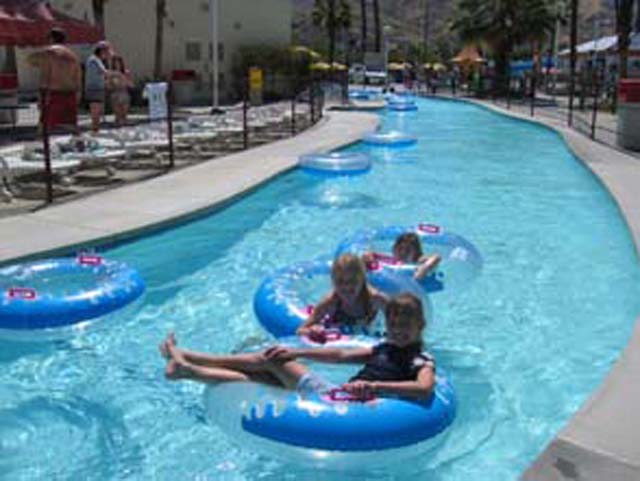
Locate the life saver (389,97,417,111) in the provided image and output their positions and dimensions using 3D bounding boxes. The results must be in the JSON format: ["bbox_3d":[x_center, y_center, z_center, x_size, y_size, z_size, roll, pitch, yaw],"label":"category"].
[{"bbox_3d":[3.329,-5.631,24.980,1.102,0.284,1.150,1,23,0],"label":"life saver"}]

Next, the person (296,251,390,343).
[{"bbox_3d":[0.220,0.457,4.794,0.890,0.773,0.563,-2,37,8],"label":"person"}]

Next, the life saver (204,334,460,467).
[{"bbox_3d":[0.376,1.197,4.422,1.526,0.462,1.532,-4,5,40],"label":"life saver"}]

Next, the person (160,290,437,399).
[{"bbox_3d":[-0.069,0.841,4.139,1.427,0.639,0.838,-1,4,4],"label":"person"}]

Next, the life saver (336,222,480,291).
[{"bbox_3d":[1.066,0.121,6.185,0.939,0.275,0.921,-13,20,-43],"label":"life saver"}]
